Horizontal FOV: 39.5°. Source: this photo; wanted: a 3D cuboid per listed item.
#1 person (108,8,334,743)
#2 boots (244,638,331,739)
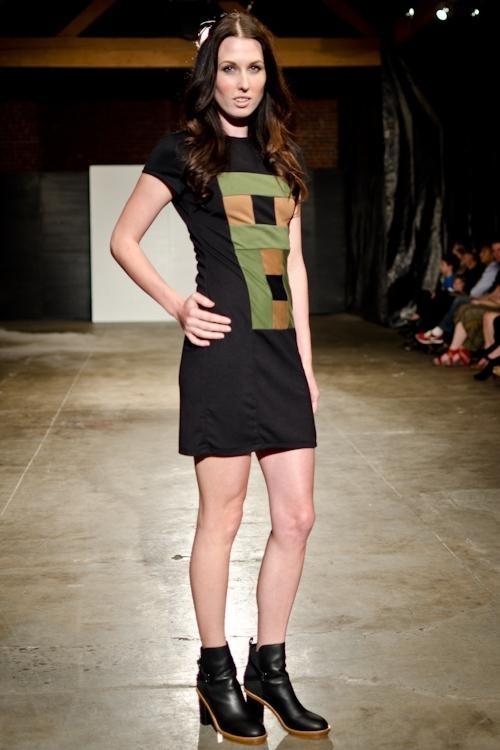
[{"bbox_3d":[-0.046,0.025,1.285,0.399,1.382,0.254,-2,4,-13],"label":"person"},{"bbox_3d":[0.075,0.594,1.344,0.082,0.137,0.216,-5,15,-42],"label":"boots"}]
